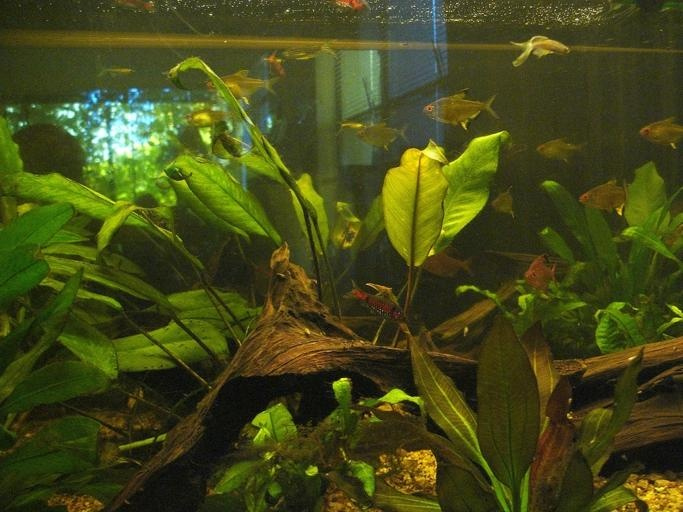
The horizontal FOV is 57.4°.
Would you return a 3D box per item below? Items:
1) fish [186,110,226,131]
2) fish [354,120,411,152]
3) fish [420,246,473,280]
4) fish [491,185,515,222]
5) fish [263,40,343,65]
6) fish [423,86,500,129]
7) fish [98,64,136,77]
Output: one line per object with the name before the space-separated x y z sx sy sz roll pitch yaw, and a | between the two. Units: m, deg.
fish | -0.973 -1.028 4.743 0.385 0.165 0.111 -2 50 4
fish | 0.307 -0.974 5.073 0.352 0.211 0.241 -5 22 7
fish | 0.871 0.022 5.281 0.333 0.313 0.111 -28 43 6
fish | 1.429 -0.469 5.576 0.240 0.071 0.254 -35 60 1
fish | -0.323 -1.666 5.176 0.531 0.129 0.667 -6 20 2
fish | 0.890 -1.132 4.856 0.476 0.269 0.227 0 23 19
fish | -1.880 -1.521 5.172 0.299 0.080 0.232 -12 21 -14
